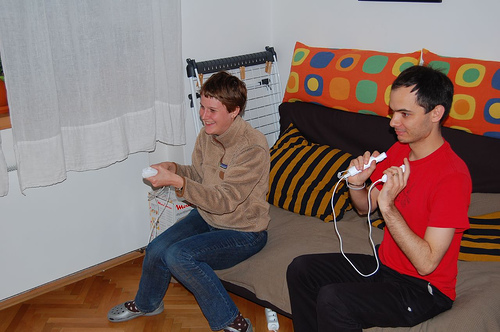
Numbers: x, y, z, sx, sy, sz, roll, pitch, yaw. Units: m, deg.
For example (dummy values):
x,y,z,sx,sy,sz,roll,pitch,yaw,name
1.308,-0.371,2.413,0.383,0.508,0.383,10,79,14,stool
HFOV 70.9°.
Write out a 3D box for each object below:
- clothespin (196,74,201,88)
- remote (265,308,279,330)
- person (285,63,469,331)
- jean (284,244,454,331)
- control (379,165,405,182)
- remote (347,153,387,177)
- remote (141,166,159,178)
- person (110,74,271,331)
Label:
x,y,z,sx,sy,sz,roll,pitch,yaw,name
-0.416,-0.682,2.832,0.029,0.099,0.042,10,20,34,clothespin
0.140,1.014,2.364,0.085,0.056,0.145,4,48,-22,remote
0.685,0.222,1.739,0.797,1.355,0.582,-9,18,-24,person
0.596,0.707,1.878,0.820,0.391,0.433,0,17,5,jean
0.670,0.038,1.645,0.104,0.083,0.072,-1,17,2,control
0.639,-0.002,1.897,0.192,0.053,0.051,-30,26,9,remote
-0.551,0.036,1.936,0.071,0.059,0.099,-14,20,-35,remote
-0.328,0.269,2.203,0.904,1.607,0.559,-1,17,3,person
